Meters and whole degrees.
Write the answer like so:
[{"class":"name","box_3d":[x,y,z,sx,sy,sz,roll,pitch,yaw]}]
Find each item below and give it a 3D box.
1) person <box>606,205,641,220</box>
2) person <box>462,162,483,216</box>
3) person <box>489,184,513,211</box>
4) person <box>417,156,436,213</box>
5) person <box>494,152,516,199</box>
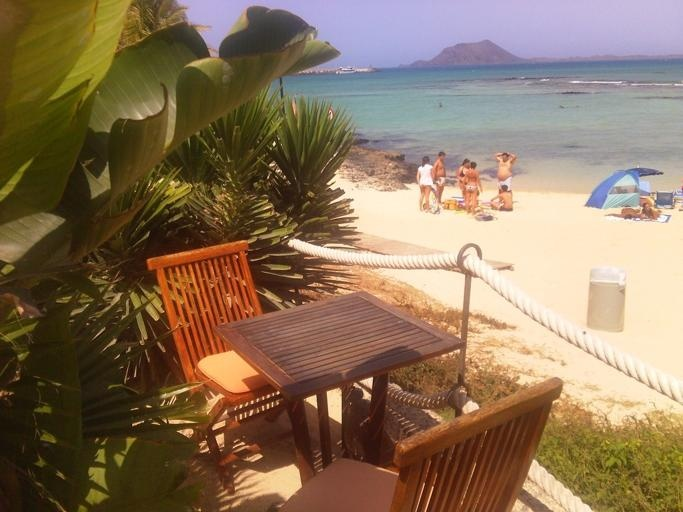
[{"class":"person","box_3d":[9.429,-1.403,16.666,0.928,0.329,0.735,11,18,31]},{"class":"person","box_3d":[4.497,-2.355,17.427,0.546,1.787,0.989,5,15,13]},{"class":"person","box_3d":[5.868,-2.147,18.267,0.612,0.992,0.950,-2,33,-1]},{"class":"person","box_3d":[3.068,-2.616,18.336,0.602,1.989,1.248,7,16,19]},{"class":"person","box_3d":[5.846,-2.937,18.049,0.622,1.442,1.679,6,16,16]}]
